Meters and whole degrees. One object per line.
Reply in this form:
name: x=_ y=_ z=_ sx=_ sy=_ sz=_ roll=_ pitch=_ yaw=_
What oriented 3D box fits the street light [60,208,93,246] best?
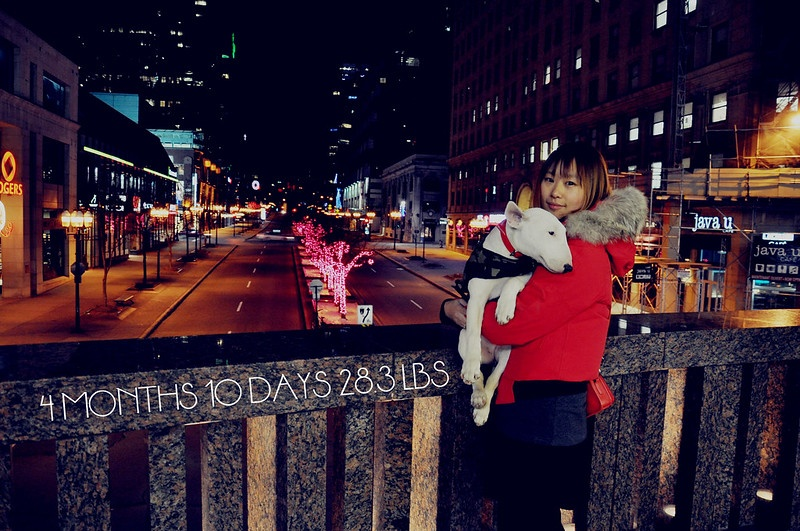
street light: x=-15.042 y=-1.813 z=32.919 sx=1.949 sy=1.713 sz=1.640 roll=-7 pitch=14 yaw=-30

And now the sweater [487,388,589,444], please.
sweater: x=1.691 y=1.744 z=8.364 sx=1.114 sy=0.812 sz=0.640 roll=1 pitch=0 yaw=-2
